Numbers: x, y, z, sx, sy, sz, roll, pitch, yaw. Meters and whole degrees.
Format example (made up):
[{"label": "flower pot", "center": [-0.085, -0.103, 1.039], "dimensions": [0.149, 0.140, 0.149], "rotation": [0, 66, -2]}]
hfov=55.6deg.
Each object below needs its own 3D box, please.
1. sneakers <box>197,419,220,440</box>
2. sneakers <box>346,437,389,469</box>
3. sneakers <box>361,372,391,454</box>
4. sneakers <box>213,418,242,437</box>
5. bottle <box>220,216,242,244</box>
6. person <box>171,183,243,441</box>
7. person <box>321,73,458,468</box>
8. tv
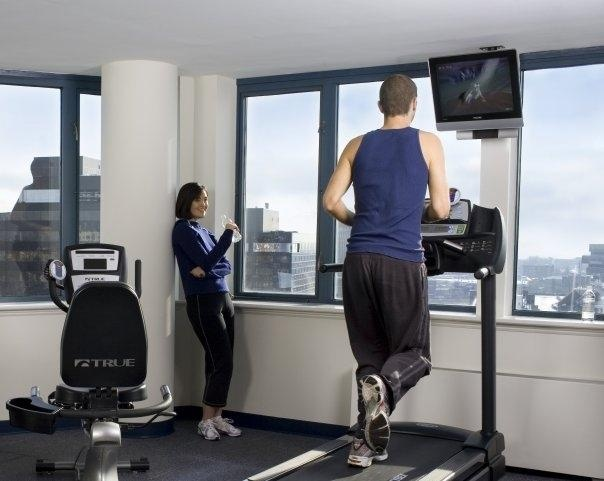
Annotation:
[{"label": "sneakers", "center": [-0.698, 1.423, 4.336], "dimensions": [0.083, 0.106, 0.207], "rotation": [5, -7, -39]}, {"label": "sneakers", "center": [0.326, 1.077, 2.956], "dimensions": [0.098, 0.142, 0.281], "rotation": [-4, -9, 39]}, {"label": "sneakers", "center": [0.334, 0.799, 2.639], "dimensions": [0.105, 0.361, 0.143], "rotation": [-1, 1, -1]}, {"label": "sneakers", "center": [-0.575, 1.424, 4.419], "dimensions": [0.261, 0.140, 0.098], "rotation": [5, -4, 7]}, {"label": "bottle", "center": [-0.534, -0.143, 4.290], "dimensions": [0.052, 0.275, 0.136], "rotation": [-22, -6, -25]}, {"label": "person", "center": [-0.713, 0.660, 4.357], "dimensions": [0.425, 1.659, 0.397], "rotation": [-3, 3, -27]}, {"label": "person", "center": [0.405, 0.164, 2.868], "dimensions": [0.569, 1.971, 0.447], "rotation": [-4, 4, -38]}, {"label": "tv", "center": [1.209, -1.040, 3.929], "dimensions": [0.604, 0.593, 0.084], "rotation": [0, 14, 27]}]
